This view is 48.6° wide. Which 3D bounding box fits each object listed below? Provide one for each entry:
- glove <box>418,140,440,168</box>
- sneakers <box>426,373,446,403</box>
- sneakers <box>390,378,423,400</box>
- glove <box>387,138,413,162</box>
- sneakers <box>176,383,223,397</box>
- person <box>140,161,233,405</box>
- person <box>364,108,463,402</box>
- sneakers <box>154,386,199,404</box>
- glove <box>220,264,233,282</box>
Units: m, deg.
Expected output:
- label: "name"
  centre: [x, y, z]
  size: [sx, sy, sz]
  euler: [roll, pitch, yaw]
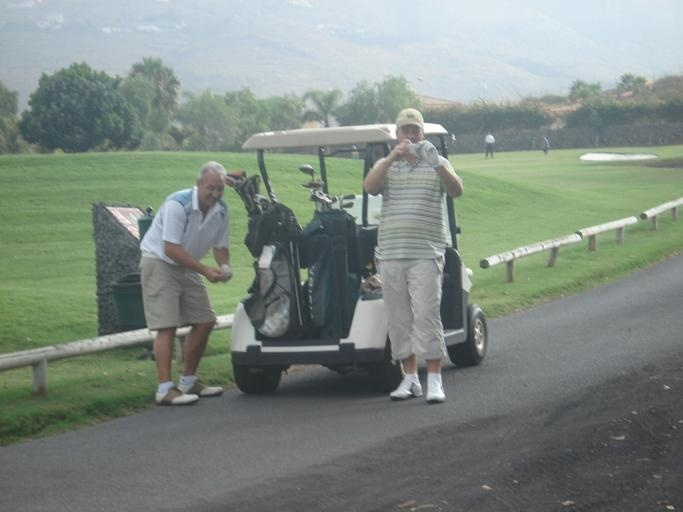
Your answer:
- label: "glove"
  centre: [0.749, -0.875, 6.440]
  size: [0.173, 0.219, 0.130]
  euler: [-7, 9, -35]
- label: "sneakers"
  centre: [0.850, 1.149, 6.804]
  size: [0.165, 0.261, 0.412]
  euler: [-1, 7, 7]
- label: "sneakers"
  centre: [0.590, 1.214, 6.870]
  size: [0.132, 0.146, 0.315]
  euler: [-6, -9, 39]
- label: "glove"
  centre: [0.521, -0.948, 6.608]
  size: [0.191, 0.195, 0.063]
  euler: [-1, 22, -28]
- label: "sneakers"
  centre: [-1.359, 1.292, 7.293]
  size: [0.427, 0.175, 0.147]
  euler: [-2, -1, -4]
- label: "person"
  centre: [-1.431, 0.249, 7.087]
  size: [0.837, 2.237, 0.575]
  euler: [-5, 7, -19]
- label: "person"
  centre: [0.661, -0.017, 6.795]
  size: [0.675, 2.638, 0.715]
  euler: [-6, 8, -30]
- label: "sneakers"
  centre: [-1.528, 1.265, 6.936]
  size: [0.327, 0.134, 0.159]
  euler: [-1, 0, 12]
- label: "glove"
  centre: [-1.072, 0.129, 7.063]
  size: [0.111, 0.194, 0.047]
  euler: [-30, -40, 20]
